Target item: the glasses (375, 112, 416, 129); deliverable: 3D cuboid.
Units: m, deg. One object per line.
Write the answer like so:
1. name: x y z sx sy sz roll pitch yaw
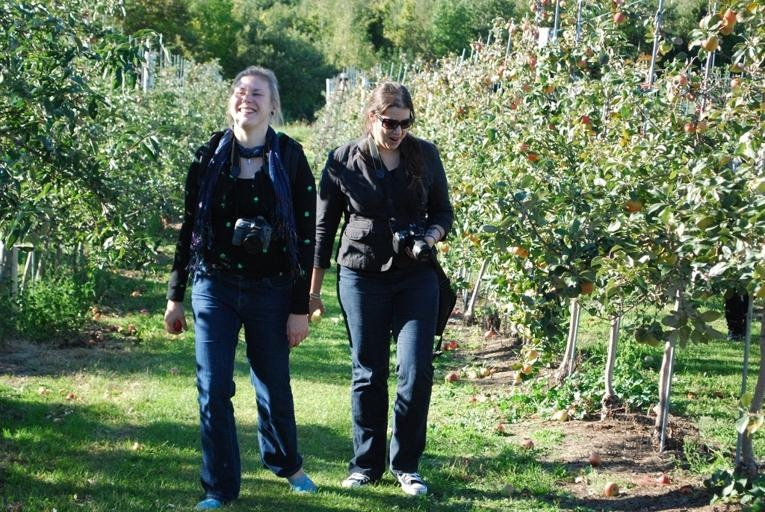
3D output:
1. glasses: 0.079 -0.917 5.984 0.256 0.105 0.097 3 12 -2

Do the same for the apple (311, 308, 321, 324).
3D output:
1. apple: -0.458 0.409 6.118 0.079 0.070 0.117 7 20 0

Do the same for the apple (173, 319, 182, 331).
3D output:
1. apple: -1.348 0.461 5.846 0.050 0.080 0.028 8 11 13

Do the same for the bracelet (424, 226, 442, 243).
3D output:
1. bracelet: 0.364 -0.146 6.133 0.109 0.106 0.130 -25 8 -1

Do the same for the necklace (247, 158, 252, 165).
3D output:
1. necklace: -0.868 -0.622 5.774 0.050 0.041 0.017 1 -5 -17

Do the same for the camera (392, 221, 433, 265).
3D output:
1. camera: 0.192 -0.101 5.938 0.225 0.156 0.258 -8 38 -22

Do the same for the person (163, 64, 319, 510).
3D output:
1. person: -0.894 0.181 5.761 0.951 2.766 0.672 -1 12 -16

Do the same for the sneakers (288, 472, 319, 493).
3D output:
1. sneakers: -0.534 1.546 6.013 0.184 0.114 0.088 6 -22 4

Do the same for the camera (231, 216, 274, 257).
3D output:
1. camera: -0.842 -0.119 5.674 0.255 0.278 0.214 7 3 -8

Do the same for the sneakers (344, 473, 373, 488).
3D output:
1. sneakers: -0.172 1.552 6.139 0.198 0.094 0.082 7 3 -15

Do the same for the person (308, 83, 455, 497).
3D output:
1. person: -0.001 0.201 6.114 0.981 2.760 0.653 4 11 4
